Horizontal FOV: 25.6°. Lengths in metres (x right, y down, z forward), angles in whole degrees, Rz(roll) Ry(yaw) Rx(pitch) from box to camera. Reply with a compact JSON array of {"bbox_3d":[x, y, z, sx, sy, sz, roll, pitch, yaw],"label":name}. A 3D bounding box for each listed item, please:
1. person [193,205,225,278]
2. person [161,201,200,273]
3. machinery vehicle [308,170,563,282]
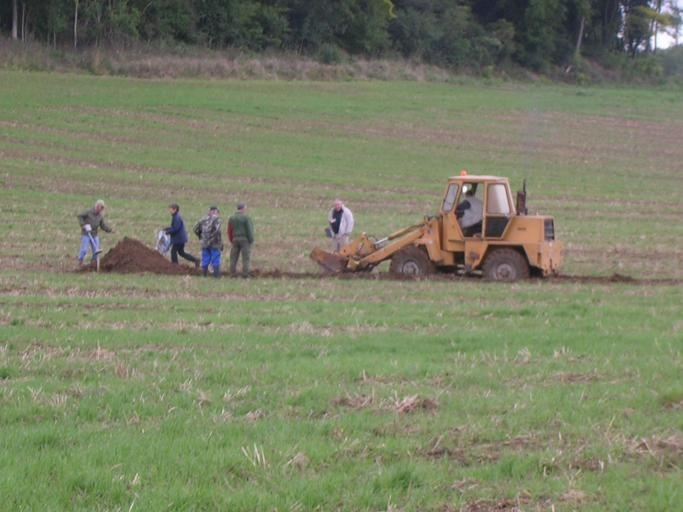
[{"bbox_3d":[-6.187,-0.760,70.871,1.070,3.211,1.408,1,1,27],"label":"person"},{"bbox_3d":[-7.826,-0.998,72.344,1.451,3.212,1.129,0,0,-14],"label":"person"},{"bbox_3d":[4.487,-1.133,72.701,10.640,5.514,4.240,2,-8,11],"label":"machinery vehicle"}]
